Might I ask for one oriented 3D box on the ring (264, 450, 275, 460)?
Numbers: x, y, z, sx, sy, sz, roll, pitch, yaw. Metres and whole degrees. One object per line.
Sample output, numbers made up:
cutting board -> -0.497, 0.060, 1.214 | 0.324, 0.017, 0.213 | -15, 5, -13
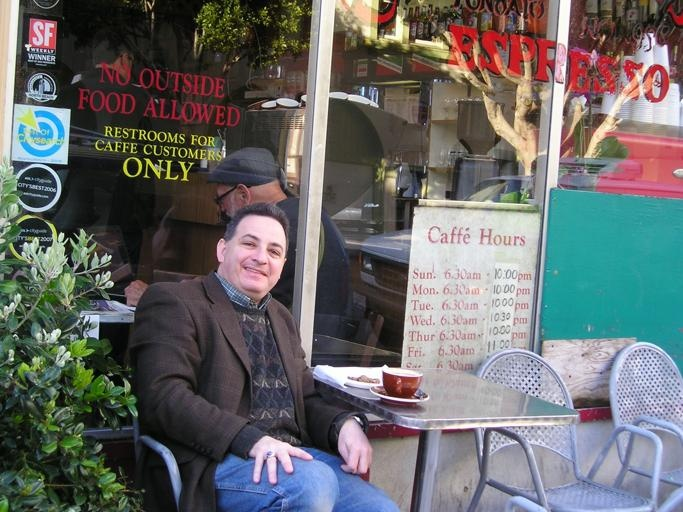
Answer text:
ring -> -0.283, 0.787, 2.391 | 0.040, 0.032, 0.025 | 4, 1, -6

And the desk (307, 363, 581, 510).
desk -> 0.430, 0.693, 2.803 | 0.856, 0.891, 0.866 | 8, 1, -28

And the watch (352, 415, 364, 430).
watch -> 0.071, 0.752, 2.735 | 0.039, 0.048, 0.054 | 23, -25, 40
